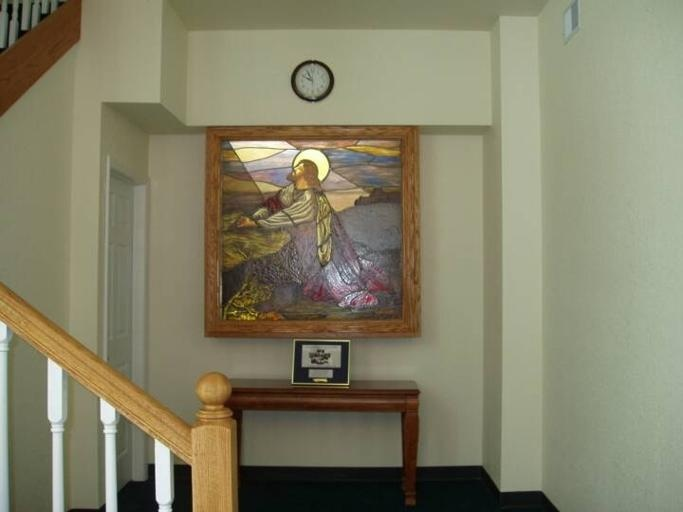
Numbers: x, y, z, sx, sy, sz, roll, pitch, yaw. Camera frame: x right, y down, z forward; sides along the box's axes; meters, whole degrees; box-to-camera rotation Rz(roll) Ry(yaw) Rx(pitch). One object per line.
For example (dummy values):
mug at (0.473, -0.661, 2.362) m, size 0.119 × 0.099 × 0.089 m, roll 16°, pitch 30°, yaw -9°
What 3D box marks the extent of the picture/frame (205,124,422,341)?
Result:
picture/frame at (-0.261, -0.156, 5.268) m, size 1.692 × 1.809 × 0.127 m, roll 0°, pitch 0°, yaw 3°
